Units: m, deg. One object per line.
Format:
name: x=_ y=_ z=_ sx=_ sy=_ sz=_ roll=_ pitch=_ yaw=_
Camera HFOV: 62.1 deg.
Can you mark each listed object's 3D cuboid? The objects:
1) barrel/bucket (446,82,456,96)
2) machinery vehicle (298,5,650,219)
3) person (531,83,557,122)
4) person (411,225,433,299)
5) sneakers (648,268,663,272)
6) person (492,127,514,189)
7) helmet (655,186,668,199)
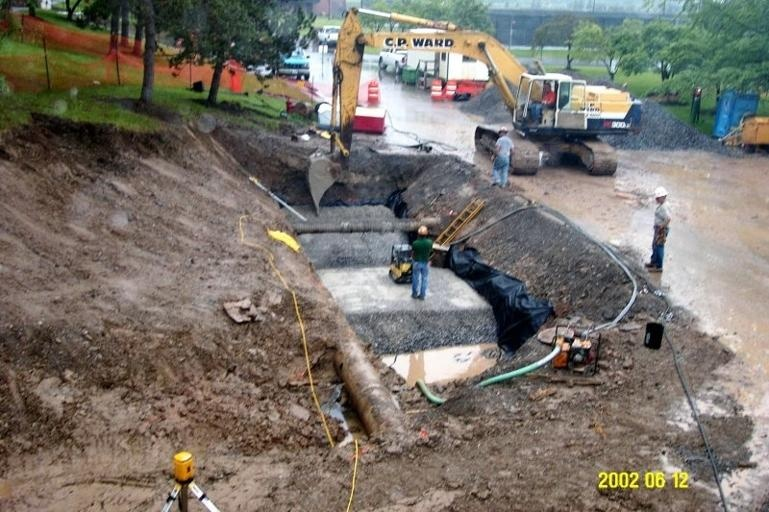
barrel/bucket: x=3.675 y=-9.101 z=34.840 sx=0.589 sy=0.941 sz=0.628 roll=1 pitch=21 yaw=0
machinery vehicle: x=1.569 y=-5.543 z=23.402 sx=13.897 sy=9.132 sz=5.492 roll=-2 pitch=26 yaw=-6
person: x=5.494 y=-5.158 z=21.783 sx=0.775 sy=1.542 sz=0.782 roll=7 pitch=4 yaw=26
person: x=0.995 y=0.093 z=17.527 sx=0.606 sy=2.059 sz=0.864 roll=10 pitch=20 yaw=4
sneakers: x=6.830 y=0.354 z=16.114 sx=0.228 sy=0.101 sz=0.135 roll=-1 pitch=38 yaw=2
person: x=3.869 y=-3.250 z=20.824 sx=0.593 sy=1.674 sz=1.913 roll=12 pitch=21 yaw=9
helmet: x=6.841 y=-1.561 z=15.887 sx=0.222 sy=0.280 sz=0.692 roll=17 pitch=22 yaw=19
